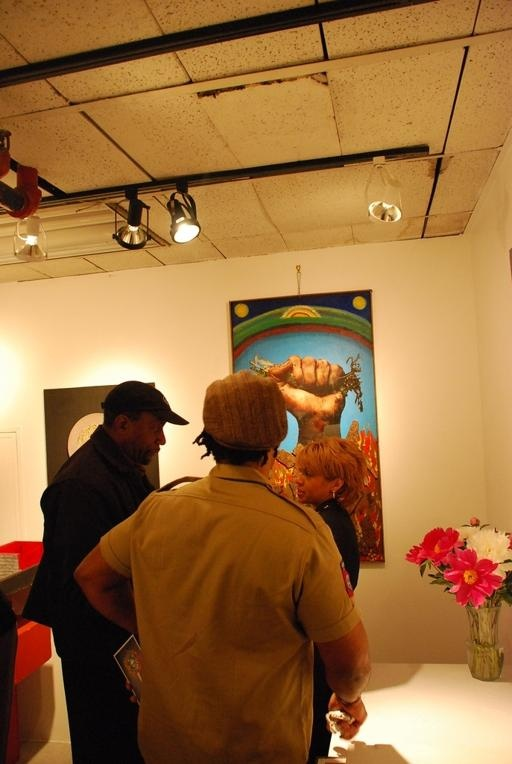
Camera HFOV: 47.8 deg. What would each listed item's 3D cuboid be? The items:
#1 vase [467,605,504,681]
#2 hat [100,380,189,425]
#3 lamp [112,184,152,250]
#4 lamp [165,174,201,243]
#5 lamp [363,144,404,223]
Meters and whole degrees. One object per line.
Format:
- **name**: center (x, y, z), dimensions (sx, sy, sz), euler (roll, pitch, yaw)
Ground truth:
- **vase**: center (0.822, 0.912, 2.048), dimensions (0.126, 0.251, 0.107), euler (-1, -5, 9)
- **hat**: center (-0.381, 0.073, 1.914), dimensions (0.240, 0.121, 0.150), euler (1, -4, -17)
- **lamp**: center (-0.563, -0.760, 2.624), dimensions (0.165, 0.310, 0.154), euler (-14, 32, -27)
- **lamp**: center (-0.317, -0.714, 2.530), dimensions (0.125, 0.298, 0.449), euler (1, -4, -7)
- **lamp**: center (0.566, -0.857, 2.571), dimensions (0.162, 0.271, 0.200), euler (3, 11, 14)
